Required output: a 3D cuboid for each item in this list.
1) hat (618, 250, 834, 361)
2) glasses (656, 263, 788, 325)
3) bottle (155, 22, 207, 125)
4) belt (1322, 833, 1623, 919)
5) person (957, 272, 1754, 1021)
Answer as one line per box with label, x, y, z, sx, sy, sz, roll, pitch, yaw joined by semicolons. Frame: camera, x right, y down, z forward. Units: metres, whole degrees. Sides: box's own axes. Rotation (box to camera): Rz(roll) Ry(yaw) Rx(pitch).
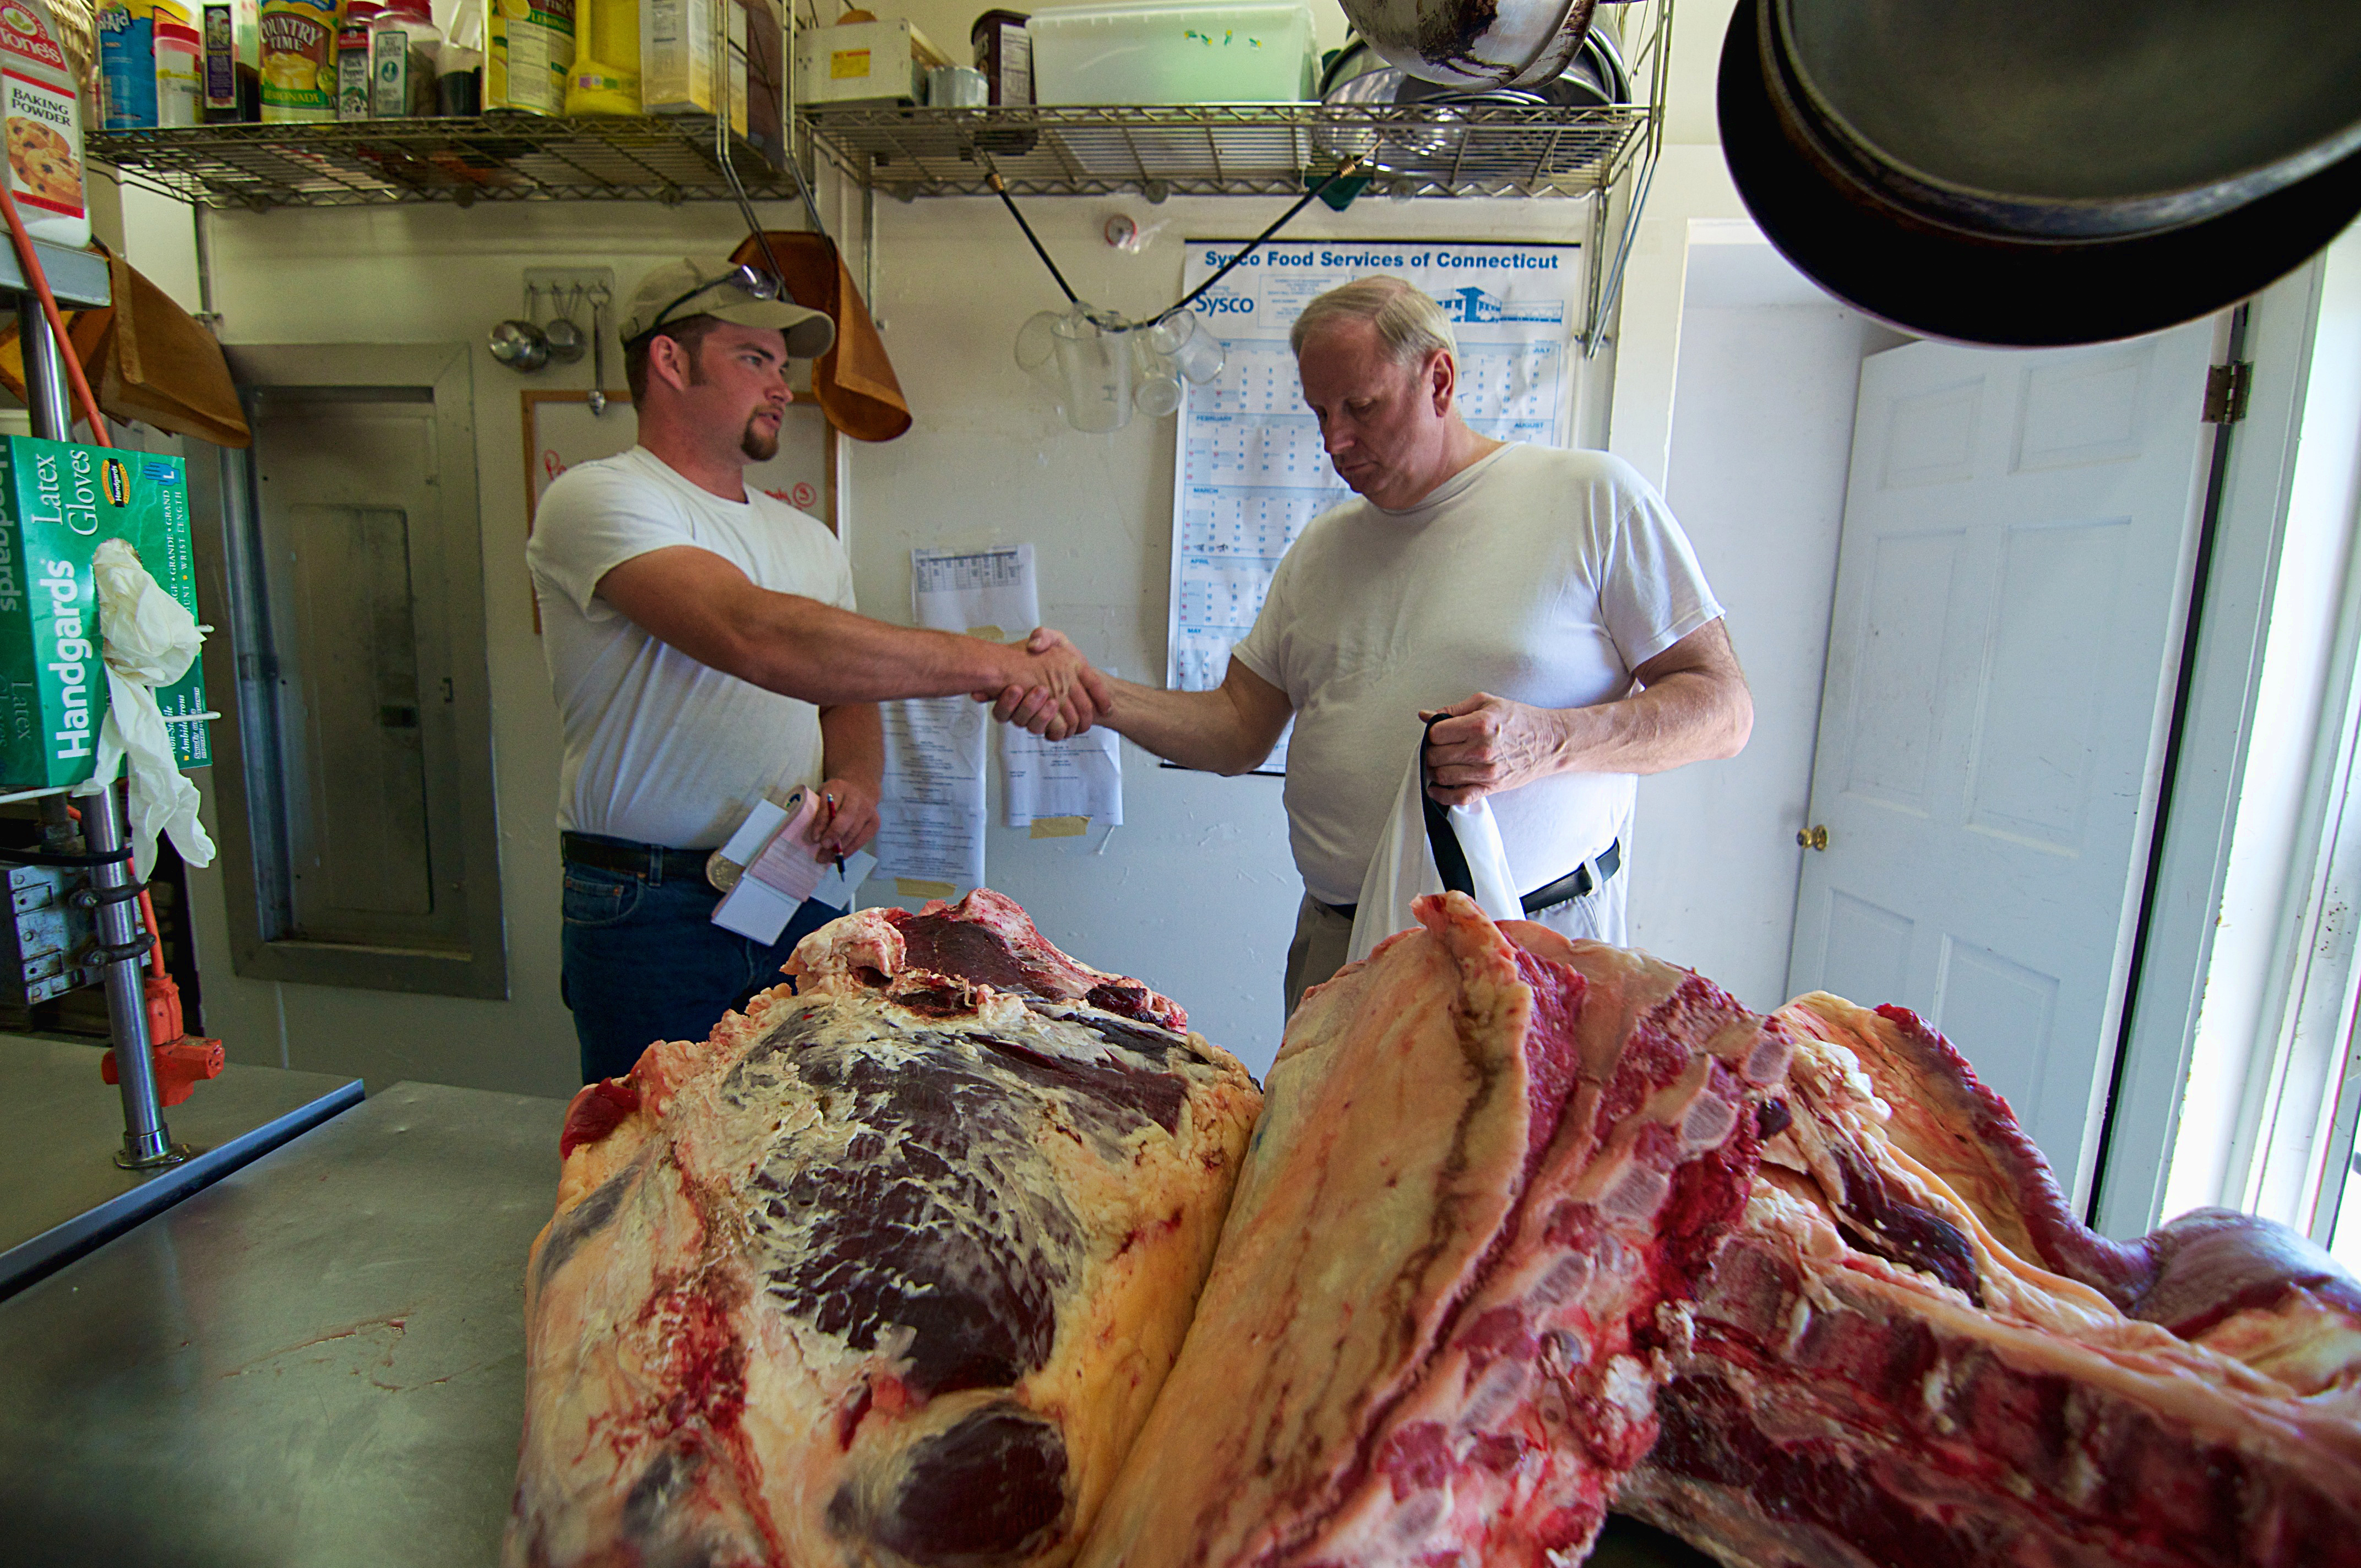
hat;-0.811;-0.846;2.878;0.316;0.129;0.208;5;5;7
glasses;-0.804;-0.831;2.825;0.152;0.048;0.153;-23;12;-6
bottle;-1.874;-1.330;3.045;0.080;0.189;0.052;-6;13;-32
belt;0.474;0.163;2.625;0.474;0.142;0.209;3;11;8
person;0.347;-0.197;2.615;0.953;1.200;0.545;10;15;40
